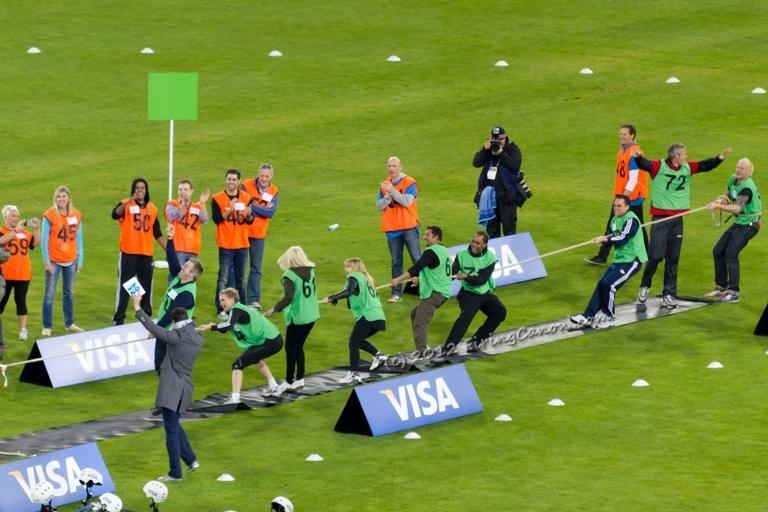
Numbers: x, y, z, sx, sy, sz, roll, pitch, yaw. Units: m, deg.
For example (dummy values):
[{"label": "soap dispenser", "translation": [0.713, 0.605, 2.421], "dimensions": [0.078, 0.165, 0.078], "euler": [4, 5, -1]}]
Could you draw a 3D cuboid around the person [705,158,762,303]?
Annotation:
[{"label": "person", "translation": [7.731, -0.515, 37.991], "dimensions": [1.476, 2.897, 1.164], "euler": [1, -2, -20]}]

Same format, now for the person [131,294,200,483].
[{"label": "person", "translation": [-3.841, 2.494, 32.218], "dimensions": [1.165, 2.745, 1.503], "euler": [3, -9, 9]}]

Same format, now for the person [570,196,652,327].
[{"label": "person", "translation": [4.811, 0.141, 37.012], "dimensions": [1.711, 2.763, 0.693], "euler": [-15, 19, -30]}]

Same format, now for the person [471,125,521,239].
[{"label": "person", "translation": [2.581, -1.663, 39.297], "dimensions": [1.127, 2.414, 1.029], "euler": [13, -10, -7]}]

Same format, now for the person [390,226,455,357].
[{"label": "person", "translation": [0.845, 0.778, 36.237], "dimensions": [1.412, 2.698, 1.070], "euler": [13, -4, -8]}]

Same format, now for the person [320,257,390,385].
[{"label": "person", "translation": [-0.548, 1.324, 34.939], "dimensions": [0.890, 2.394, 1.053], "euler": [4, 19, 28]}]

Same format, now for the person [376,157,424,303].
[{"label": "person", "translation": [0.245, -0.788, 38.416], "dimensions": [1.245, 2.916, 0.803], "euler": [4, -1, 5]}]
